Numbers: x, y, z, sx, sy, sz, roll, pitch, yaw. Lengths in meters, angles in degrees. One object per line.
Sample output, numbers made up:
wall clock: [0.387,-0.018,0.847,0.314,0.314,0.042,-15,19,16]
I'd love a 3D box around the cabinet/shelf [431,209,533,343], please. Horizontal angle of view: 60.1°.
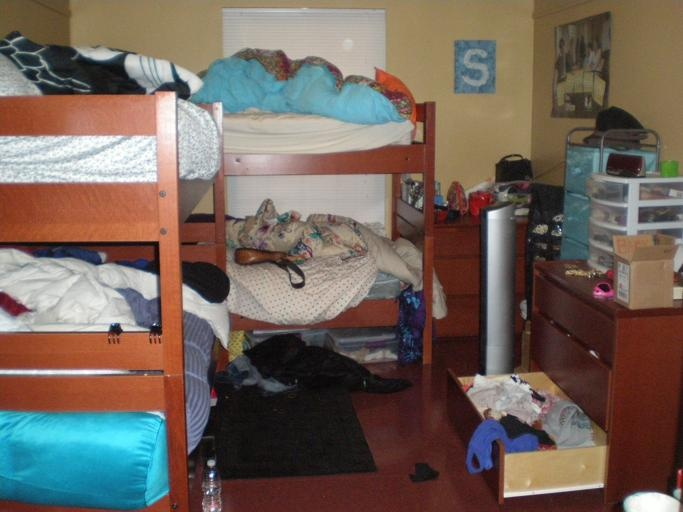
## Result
cabinet/shelf: [0.818,0.137,4.610,1.213,1.072,0.766,-1,4,-1]

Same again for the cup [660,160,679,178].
cup: [1.525,-0.408,2.726,0.087,0.078,0.085,1,2,0]

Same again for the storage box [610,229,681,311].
storage box: [1.198,0.056,2.490,0.327,0.408,0.289,-1,3,-1]

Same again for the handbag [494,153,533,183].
handbag: [1.426,-0.722,4.909,0.309,0.255,0.141,-2,17,8]

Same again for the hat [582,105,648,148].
hat: [1.651,-0.774,3.556,0.272,0.240,0.360,-8,13,-44]
